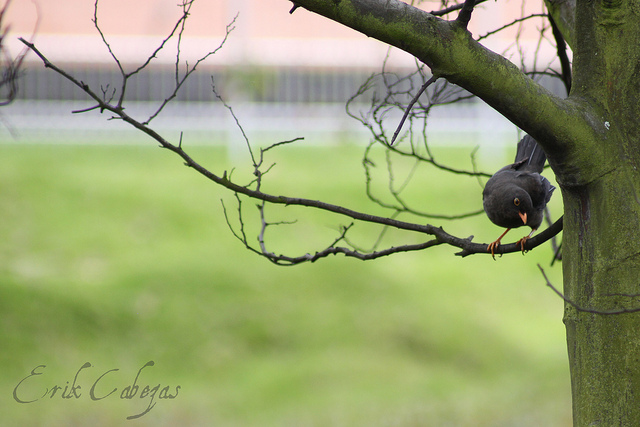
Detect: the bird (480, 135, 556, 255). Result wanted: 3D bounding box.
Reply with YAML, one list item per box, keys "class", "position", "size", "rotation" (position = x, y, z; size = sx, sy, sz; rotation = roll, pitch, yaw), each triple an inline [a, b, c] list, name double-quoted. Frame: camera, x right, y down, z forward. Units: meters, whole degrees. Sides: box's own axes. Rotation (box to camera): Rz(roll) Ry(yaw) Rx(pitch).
- class: "bird"
  position: [2.728, -0.350, 13.964]
  size: [0.772, 1.418, 2.527]
  rotation: [9, 27, 15]
